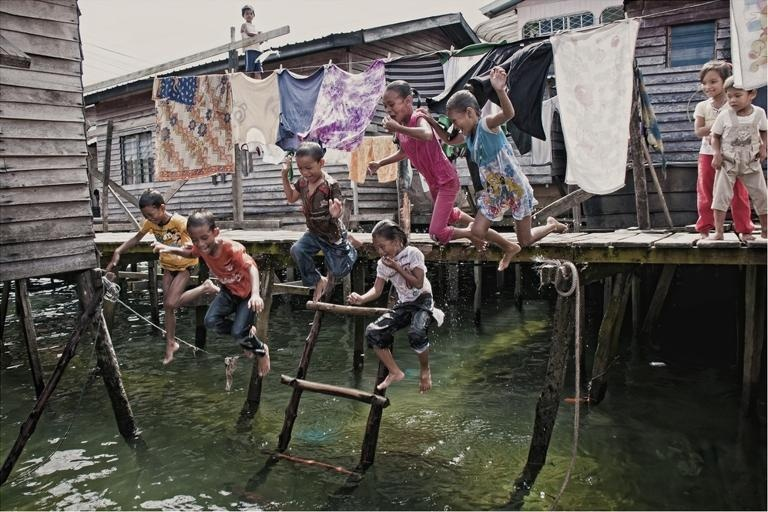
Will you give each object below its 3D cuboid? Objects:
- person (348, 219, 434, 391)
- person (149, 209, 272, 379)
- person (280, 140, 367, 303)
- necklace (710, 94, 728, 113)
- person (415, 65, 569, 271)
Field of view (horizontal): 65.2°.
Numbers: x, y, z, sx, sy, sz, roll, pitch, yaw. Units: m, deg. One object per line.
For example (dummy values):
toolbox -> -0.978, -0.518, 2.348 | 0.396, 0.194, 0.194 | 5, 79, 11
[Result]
person -> 0.155, 0.690, 7.312 | 0.868, 2.239, 0.613 | -5, 7, 4
person -> -1.894, 0.540, 7.551 | 0.831, 2.228, 0.701 | -4, 7, 6
person -> -0.876, -0.410, 8.096 | 0.889, 2.193, 0.972 | -6, 7, -5
necklace -> 4.636, -2.114, 8.355 | 0.155, 0.198, 0.153 | -3, 2, 21
person -> 1.388, -0.900, 7.181 | 1.099, 2.193, 0.838 | -5, 7, -1
